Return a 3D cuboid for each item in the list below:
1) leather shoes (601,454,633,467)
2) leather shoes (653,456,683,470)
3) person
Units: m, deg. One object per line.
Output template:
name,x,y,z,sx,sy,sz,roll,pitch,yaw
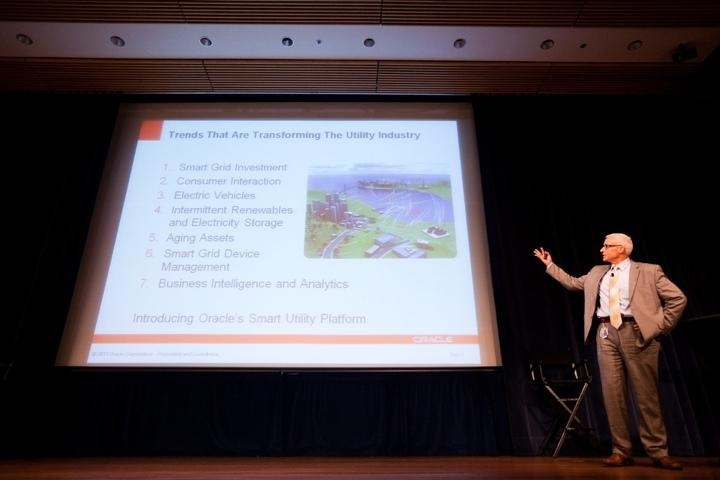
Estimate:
leather shoes,2.245,1.930,4.574,0.256,0.104,0.093,4,-20,-14
leather shoes,2.611,1.904,4.454,0.087,0.086,0.218,-2,-22,-14
person,2.416,0.960,4.760,1.018,2.057,0.262,-9,-17,30
